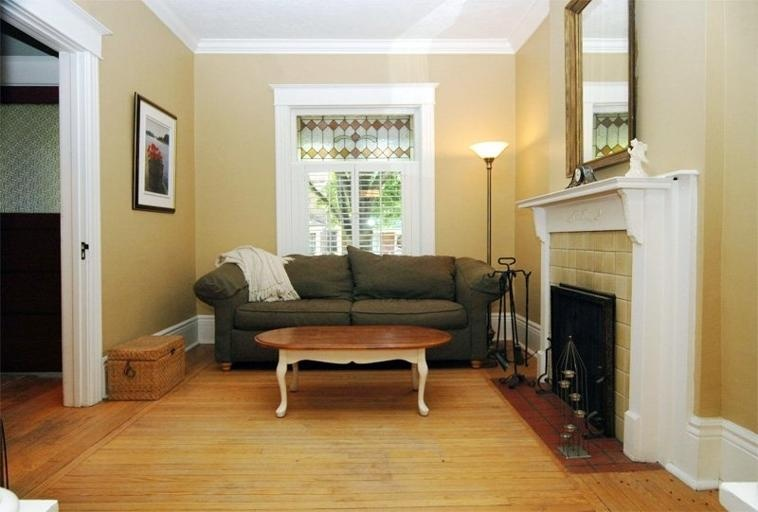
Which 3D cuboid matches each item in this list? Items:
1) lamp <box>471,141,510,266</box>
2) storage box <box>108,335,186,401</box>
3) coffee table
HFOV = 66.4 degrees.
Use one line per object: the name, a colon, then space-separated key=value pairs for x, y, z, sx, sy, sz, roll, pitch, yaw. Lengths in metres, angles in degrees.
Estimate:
lamp: x=1.114 y=-0.521 z=5.751 sx=0.359 sy=1.227 sz=0.564 roll=-1 pitch=5 yaw=11
storage box: x=-1.879 y=0.891 z=4.720 sx=0.423 sy=0.374 sz=0.667 roll=0 pitch=3 yaw=-1
coffee table: x=-0.186 y=0.845 z=4.365 sx=1.391 sy=0.576 sz=0.647 roll=-1 pitch=4 yaw=0
